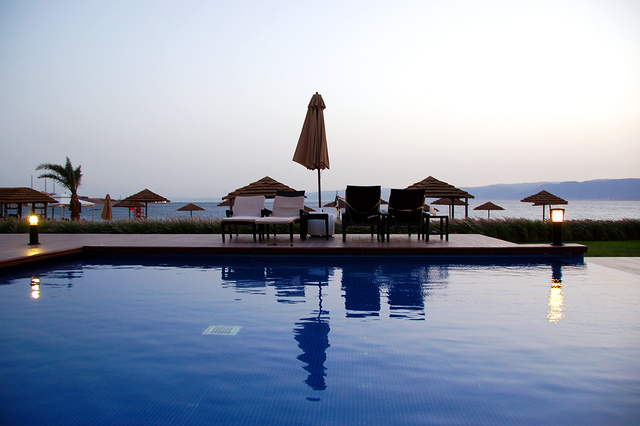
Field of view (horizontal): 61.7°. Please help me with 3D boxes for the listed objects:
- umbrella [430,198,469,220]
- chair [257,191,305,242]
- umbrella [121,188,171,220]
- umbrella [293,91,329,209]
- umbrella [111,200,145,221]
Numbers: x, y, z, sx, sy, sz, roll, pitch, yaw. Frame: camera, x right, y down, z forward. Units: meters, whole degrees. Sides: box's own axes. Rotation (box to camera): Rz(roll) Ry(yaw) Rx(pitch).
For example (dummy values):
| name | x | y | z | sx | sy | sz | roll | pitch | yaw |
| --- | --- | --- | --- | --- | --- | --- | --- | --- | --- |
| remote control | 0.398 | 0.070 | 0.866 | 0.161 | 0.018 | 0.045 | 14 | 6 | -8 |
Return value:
| name | x | y | z | sx | sy | sz | roll | pitch | yaw |
| --- | --- | --- | --- | --- | --- | --- | --- | --- | --- |
| umbrella | 7.570 | -0.322 | 31.701 | 1.697 | 0.990 | 1.705 | 1 | 1 | 19 |
| chair | -1.725 | -0.068 | 19.588 | 1.616 | 1.825 | 1.999 | 0 | 1 | 14 |
| umbrella | -11.079 | -0.607 | 33.364 | 1.836 | 1.183 | 1.757 | -1 | -1 | 19 |
| umbrella | -0.217 | -2.479 | 20.789 | 1.227 | 4.166 | 1.081 | 10 | 18 | 32 |
| umbrella | -14.707 | -0.216 | 40.963 | 2.204 | 1.994 | 2.051 | 0 | -4 | 5 |
